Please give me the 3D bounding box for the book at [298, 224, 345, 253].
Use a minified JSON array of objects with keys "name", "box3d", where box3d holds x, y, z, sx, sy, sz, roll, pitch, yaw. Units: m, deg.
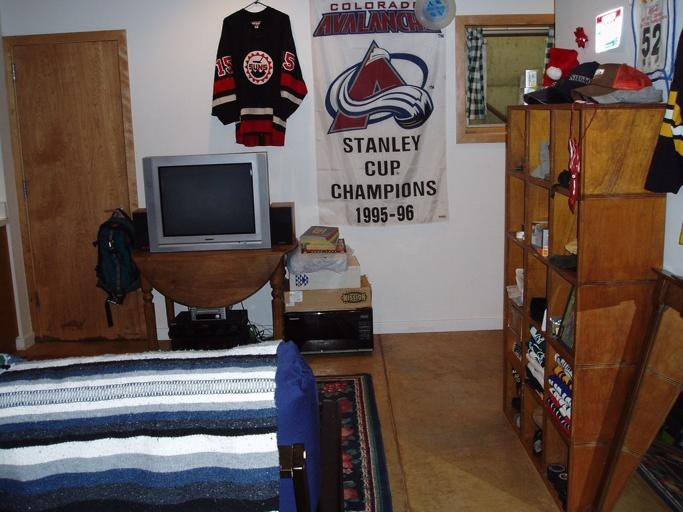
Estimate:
[{"name":"book","box3d":[-0.203,-0.122,4.570,0.232,0.089,0.247,4,20,20]}]
